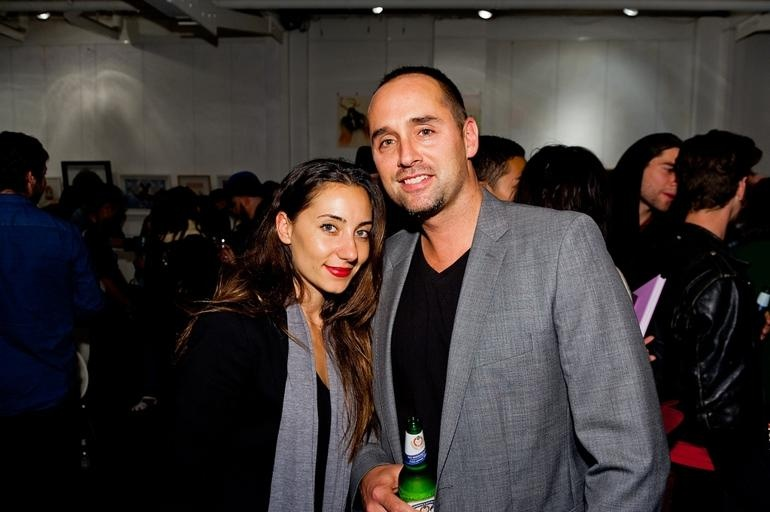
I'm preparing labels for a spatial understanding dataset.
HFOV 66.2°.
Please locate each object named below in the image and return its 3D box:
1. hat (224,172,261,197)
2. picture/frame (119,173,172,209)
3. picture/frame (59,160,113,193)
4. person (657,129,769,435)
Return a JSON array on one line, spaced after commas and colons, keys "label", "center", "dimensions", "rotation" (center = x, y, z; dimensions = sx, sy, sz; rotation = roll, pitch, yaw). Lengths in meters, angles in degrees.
[{"label": "hat", "center": [-1.704, -0.859, 7.111], "dimensions": [0.404, 0.358, 0.305], "rotation": [-7, 15, -3]}, {"label": "picture/frame", "center": [-3.059, -0.867, 7.537], "dimensions": [0.783, 0.533, 0.052], "rotation": [-1, 8, 0]}, {"label": "picture/frame", "center": [-3.681, -0.978, 7.246], "dimensions": [0.740, 0.605, 0.078], "rotation": [1, 6, -2]}, {"label": "person", "center": [2.078, 0.139, 3.745], "dimensions": [0.628, 1.805, 0.694], "rotation": [4, 13, 23]}]
